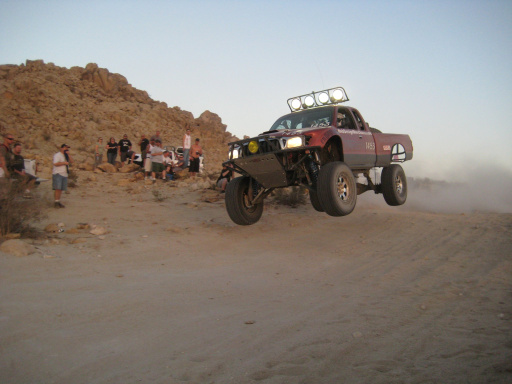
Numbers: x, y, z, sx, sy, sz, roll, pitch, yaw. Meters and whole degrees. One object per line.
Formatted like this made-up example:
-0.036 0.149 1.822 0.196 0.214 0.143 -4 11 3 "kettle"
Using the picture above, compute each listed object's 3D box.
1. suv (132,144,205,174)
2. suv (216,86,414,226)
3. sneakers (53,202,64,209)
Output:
-5.138 -2.022 21.413 2.029 1.316 3.423 1 0 39 "suv"
1.536 -0.838 9.180 4.357 3.318 2.558 -6 12 -42 "suv"
-5.555 0.333 10.748 0.289 0.184 0.297 -3 10 -26 "sneakers"
